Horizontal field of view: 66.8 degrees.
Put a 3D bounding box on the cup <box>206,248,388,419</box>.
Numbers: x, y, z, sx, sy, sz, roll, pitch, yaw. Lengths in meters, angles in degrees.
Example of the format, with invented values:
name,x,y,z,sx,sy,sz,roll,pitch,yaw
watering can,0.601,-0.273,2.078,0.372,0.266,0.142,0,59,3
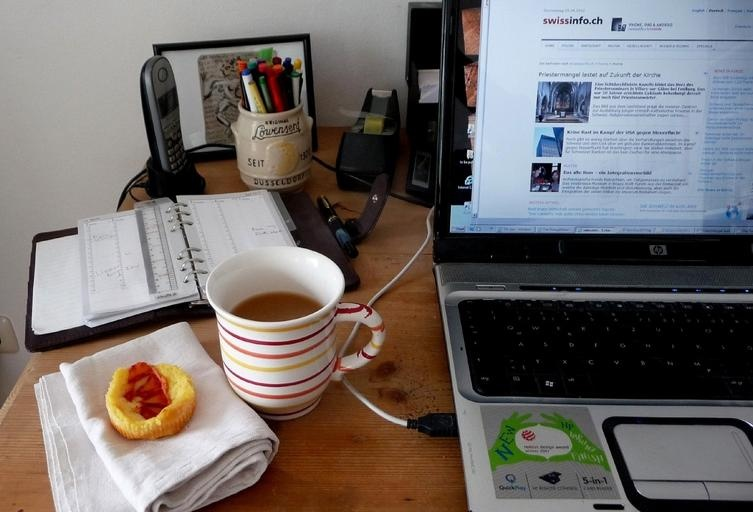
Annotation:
name,x,y,z,sx,sy,sz,roll,pitch,yaw
cup,-0.087,0.084,0.586,0.130,0.145,0.146,-25,42,-38

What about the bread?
name,x,y,z,sx,sy,sz,roll,pitch,yaw
bread,-0.221,0.143,0.566,0.086,0.026,0.079,2,33,-3

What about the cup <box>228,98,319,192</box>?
name,x,y,z,sx,sy,sz,roll,pitch,yaw
cup,-0.158,-0.170,0.900,0.128,0.128,0.123,2,40,-1
